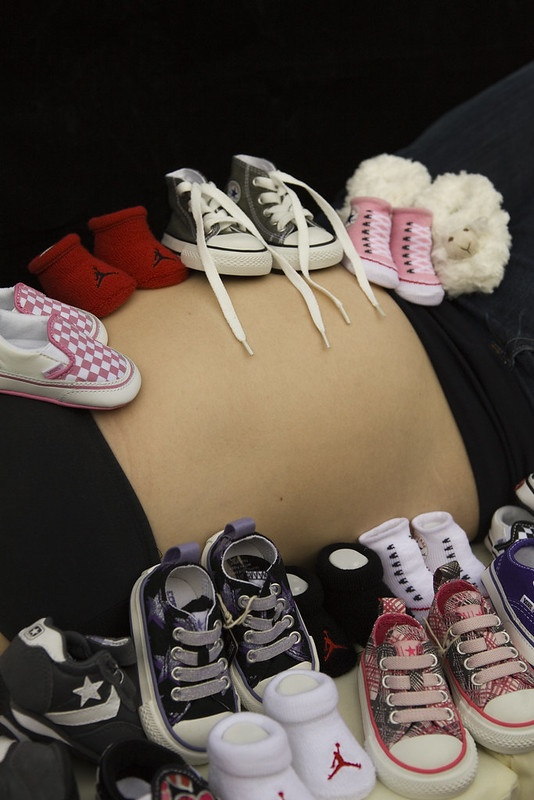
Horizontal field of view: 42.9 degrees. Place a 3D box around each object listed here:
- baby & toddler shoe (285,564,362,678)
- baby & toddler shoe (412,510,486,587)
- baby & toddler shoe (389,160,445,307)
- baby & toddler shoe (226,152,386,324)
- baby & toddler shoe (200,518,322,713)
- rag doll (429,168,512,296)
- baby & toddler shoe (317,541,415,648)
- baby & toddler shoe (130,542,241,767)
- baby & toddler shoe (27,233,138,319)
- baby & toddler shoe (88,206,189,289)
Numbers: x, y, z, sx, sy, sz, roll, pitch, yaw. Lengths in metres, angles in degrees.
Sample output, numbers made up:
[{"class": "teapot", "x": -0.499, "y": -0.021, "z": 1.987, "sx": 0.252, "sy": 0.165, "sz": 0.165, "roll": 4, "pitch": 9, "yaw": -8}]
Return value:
[{"class": "baby & toddler shoe", "x": 0.063, "y": 0.310, "z": 0.994, "sx": 0.060, "sy": 0.067, "sz": 0.173, "roll": -17, "pitch": 48, "yaw": -17}, {"class": "baby & toddler shoe", "x": 0.285, "y": 0.233, "z": 1.130, "sx": 0.061, "sy": 0.064, "sz": 0.163, "roll": -25, "pitch": 45, "yaw": -11}, {"class": "baby & toddler shoe", "x": 0.248, "y": -0.289, "z": 1.276, "sx": 0.078, "sy": 0.105, "sz": 0.225, "roll": -4, "pitch": 58, "yaw": -10}, {"class": "baby & toddler shoe", "x": 0.039, "y": -0.322, "z": 1.216, "sx": 0.126, "sy": 0.136, "sz": 0.368, "roll": -25, "pitch": 51, "yaw": -33}, {"class": "baby & toddler shoe", "x": 0.003, "y": 0.284, "z": 0.900, "sx": 0.116, "sy": 0.100, "sz": 0.256, "roll": -17, "pitch": 36, "yaw": -3}, {"class": "rag doll", "x": 0.396, "y": -0.314, "z": 1.345, "sx": 0.163, "sy": 0.080, "sz": 0.248, "roll": -5, "pitch": 61, "yaw": 1}, {"class": "baby & toddler shoe", "x": 0.132, "y": 0.278, "z": 1.104, "sx": 0.118, "sy": 0.099, "sz": 0.240, "roll": -3, "pitch": -1, "yaw": 4}, {"class": "baby & toddler shoe", "x": -0.109, "y": 0.316, "z": 0.896, "sx": 0.118, "sy": 0.105, "sz": 0.266, "roll": -2, "pitch": 59, "yaw": -30}, {"class": "baby & toddler shoe", "x": -0.288, "y": -0.207, "z": 1.156, "sx": 0.173, "sy": 0.106, "sz": 0.111, "roll": 26, "pitch": 63, "yaw": 18}, {"class": "baby & toddler shoe", "x": -0.233, "y": -0.270, "z": 1.208, "sx": 0.202, "sy": 0.127, "sz": 0.095, "roll": 16, "pitch": 24, "yaw": 26}]
